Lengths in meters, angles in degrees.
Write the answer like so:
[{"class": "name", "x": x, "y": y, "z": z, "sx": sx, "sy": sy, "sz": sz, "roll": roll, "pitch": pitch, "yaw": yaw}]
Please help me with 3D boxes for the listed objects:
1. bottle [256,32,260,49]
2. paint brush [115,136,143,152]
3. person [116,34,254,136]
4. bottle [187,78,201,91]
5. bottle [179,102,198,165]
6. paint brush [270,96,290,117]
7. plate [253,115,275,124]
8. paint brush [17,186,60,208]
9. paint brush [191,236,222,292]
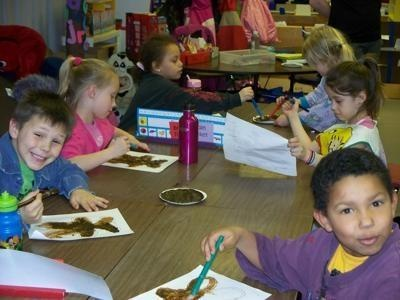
[{"class": "bottle", "x": 0.685, "y": -1.294, "z": 4.092, "sx": 0.038, "sy": 0.179, "sz": 0.112, "roll": 3, "pitch": 17, "yaw": 19}, {"class": "paint brush", "x": -0.383, "y": -0.028, "z": 1.869, "sx": 0.159, "sy": 0.031, "sz": 0.027, "roll": 30, "pitch": 25, "yaw": 29}, {"class": "person", "x": -0.134, "y": -0.445, "z": 2.783, "sx": 1.019, "sy": 0.973, "sz": 0.702, "roll": -6, "pitch": 1, "yaw": -5}, {"class": "bottle", "x": -0.043, "y": -0.489, "z": 2.560, "sx": 0.096, "sy": 0.078, "sz": 0.181, "roll": -4, "pitch": 16, "yaw": -3}, {"class": "bottle", "x": -0.059, "y": -0.076, "z": 1.786, "sx": 0.107, "sy": 0.304, "sz": 0.060, "roll": -3, "pitch": 16, "yaw": -2}, {"class": "paint brush", "x": 0.544, "y": -0.304, "z": 2.376, "sx": 0.051, "sy": 0.266, "sz": 0.055, "roll": 36, "pitch": 63, "yaw": 4}, {"class": "plate", "x": 0.447, "y": -0.213, "z": 2.423, "sx": 0.155, "sy": 0.047, "sz": 0.148, "roll": 1, "pitch": 16, "yaw": 12}, {"class": "paint brush", "x": -0.637, "y": 0.189, "z": 1.404, "sx": 0.201, "sy": 0.040, "sz": 0.024, "roll": -19, "pitch": 53, "yaw": -1}, {"class": "paint brush", "x": 0.023, "y": 0.352, "z": 1.047, "sx": 0.024, "sy": 0.168, "sz": 0.019, "roll": 29, "pitch": -19, "yaw": 10}]
